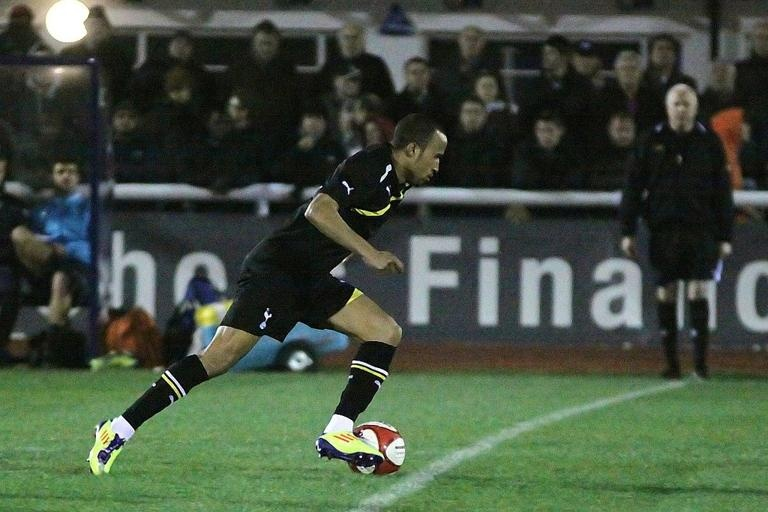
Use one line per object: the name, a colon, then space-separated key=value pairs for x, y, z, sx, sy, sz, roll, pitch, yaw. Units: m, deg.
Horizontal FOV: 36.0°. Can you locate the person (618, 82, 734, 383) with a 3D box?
person: x=2.917 y=-0.222 z=11.759 sx=1.072 sy=2.887 sz=0.324 roll=3 pitch=-4 yaw=10

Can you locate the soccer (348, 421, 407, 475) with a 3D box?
soccer: x=-0.032 y=1.405 z=8.408 sx=0.382 sy=0.422 sz=0.423 roll=-1 pitch=-11 yaw=27
